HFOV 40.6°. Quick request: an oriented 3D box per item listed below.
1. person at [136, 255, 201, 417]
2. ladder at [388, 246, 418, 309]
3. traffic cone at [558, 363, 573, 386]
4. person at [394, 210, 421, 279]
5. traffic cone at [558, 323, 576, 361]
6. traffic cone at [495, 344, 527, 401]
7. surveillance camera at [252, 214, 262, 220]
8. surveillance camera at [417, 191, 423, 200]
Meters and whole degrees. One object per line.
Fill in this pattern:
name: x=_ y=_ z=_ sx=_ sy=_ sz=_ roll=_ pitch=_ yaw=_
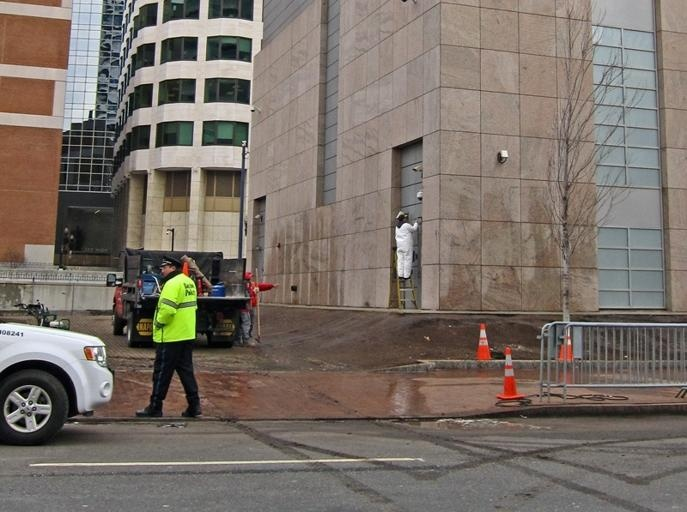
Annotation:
person: x=-3.506 y=1.635 z=18.755 sx=1.191 sy=2.939 sz=1.181 roll=0 pitch=-1 yaw=15
ladder: x=2.217 y=0.787 z=33.555 sx=0.717 sy=2.121 sz=0.830 roll=2 pitch=2 yaw=-23
traffic cone: x=4.870 y=2.581 z=20.328 sx=0.285 sy=0.513 sz=0.601 roll=2 pitch=-7 yaw=1
person: x=2.190 y=-0.406 z=33.030 sx=0.773 sy=2.357 sz=0.835 roll=2 pitch=3 yaw=-23
traffic cone: x=4.911 y=1.915 z=20.401 sx=0.290 sy=0.811 sz=0.953 roll=0 pitch=-7 yaw=14
traffic cone: x=3.806 y=2.575 z=20.576 sx=0.726 sy=1.144 sz=0.729 roll=3 pitch=2 yaw=-8
surveillance camera: x=-4.699 y=-2.134 z=51.347 sx=0.416 sy=0.291 sz=0.139 roll=0 pitch=-4 yaw=9
surveillance camera: x=2.700 y=-2.105 z=32.617 sx=0.301 sy=0.264 sz=0.533 roll=1 pitch=7 yaw=3
